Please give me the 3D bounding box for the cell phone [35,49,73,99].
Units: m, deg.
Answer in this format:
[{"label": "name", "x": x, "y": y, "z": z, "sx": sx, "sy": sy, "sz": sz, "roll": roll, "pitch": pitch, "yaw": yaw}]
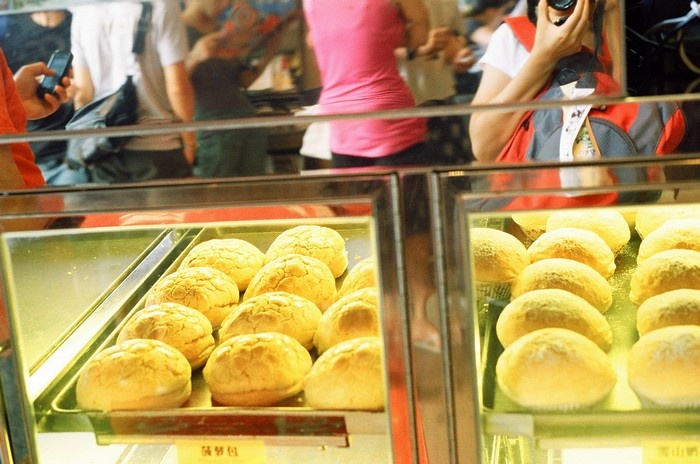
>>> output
[{"label": "cell phone", "x": -0.489, "y": -0.266, "z": 1.110, "sx": 0.043, "sy": 0.088, "sz": 0.018, "roll": 25, "pitch": 10, "yaw": 8}]
